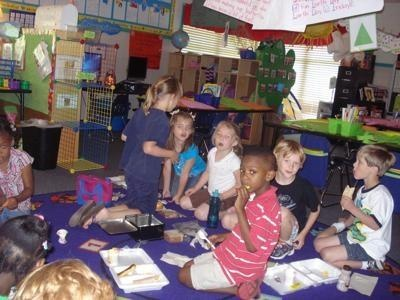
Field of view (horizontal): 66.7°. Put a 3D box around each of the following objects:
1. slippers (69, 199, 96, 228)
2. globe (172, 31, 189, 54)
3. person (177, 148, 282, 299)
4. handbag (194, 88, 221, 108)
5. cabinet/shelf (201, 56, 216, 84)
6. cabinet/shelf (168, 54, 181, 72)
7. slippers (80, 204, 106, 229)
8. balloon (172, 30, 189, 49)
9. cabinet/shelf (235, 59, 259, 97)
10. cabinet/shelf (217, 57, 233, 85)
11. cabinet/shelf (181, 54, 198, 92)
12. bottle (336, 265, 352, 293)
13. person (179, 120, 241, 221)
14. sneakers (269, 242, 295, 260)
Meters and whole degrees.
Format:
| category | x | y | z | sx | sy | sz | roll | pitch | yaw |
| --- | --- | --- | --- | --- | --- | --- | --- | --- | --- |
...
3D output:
| category | x | y | z | sx | sy | sz | roll | pitch | yaw |
| --- | --- | --- | --- | --- | --- | --- | --- | --- | --- |
| slippers | -0.846 | 0.471 | 2.297 | 0.120 | 0.055 | 0.242 | 25 | 59 | 32 |
| globe | -0.494 | -2.746 | 7.661 | 0.421 | 0.493 | 0.413 | -31 | 37 | -23 |
| person | 0.207 | 0.438 | 1.790 | 0.493 | 0.882 | 0.334 | 0 | 14 | -29 |
| handbag | 0.132 | -0.844 | 5.050 | 0.399 | 0.249 | 0.260 | 24 | 15 | 20 |
| cabinet/shelf | 0.233 | -1.967 | 7.384 | 0.391 | 0.671 | 0.428 | 3 | 13 | -19 |
| cabinet/shelf | -0.641 | -2.250 | 7.887 | 0.332 | 0.542 | 0.201 | 6 | 13 | -5 |
| slippers | -0.811 | 0.503 | 2.314 | 0.065 | 0.201 | 0.089 | 39 | -16 | 18 |
| balloon | -0.510 | -2.818 | 7.708 | 0.447 | 0.480 | 0.236 | 8 | 13 | 2 |
| cabinet/shelf | 1.096 | -1.639 | 7.019 | 0.510 | 0.885 | 0.306 | -1 | 15 | -32 |
| cabinet/shelf | 0.635 | -1.880 | 7.206 | 0.419 | 0.642 | 0.398 | 1 | 14 | -23 |
| cabinet/shelf | -0.255 | -1.963 | 7.711 | 0.456 | 0.924 | 0.391 | 8 | 13 | 3 |
| bottle | 0.963 | 0.841 | 2.022 | 0.077 | 0.156 | 0.150 | 14 | 14 | 29 |
| person | 0.118 | 0.170 | 2.869 | 0.534 | 0.819 | 0.609 | 9 | 13 | 36 |
| sneakers | 0.637 | 0.764 | 2.357 | 0.226 | 0.111 | 0.085 | -4 | 7 | -32 |
